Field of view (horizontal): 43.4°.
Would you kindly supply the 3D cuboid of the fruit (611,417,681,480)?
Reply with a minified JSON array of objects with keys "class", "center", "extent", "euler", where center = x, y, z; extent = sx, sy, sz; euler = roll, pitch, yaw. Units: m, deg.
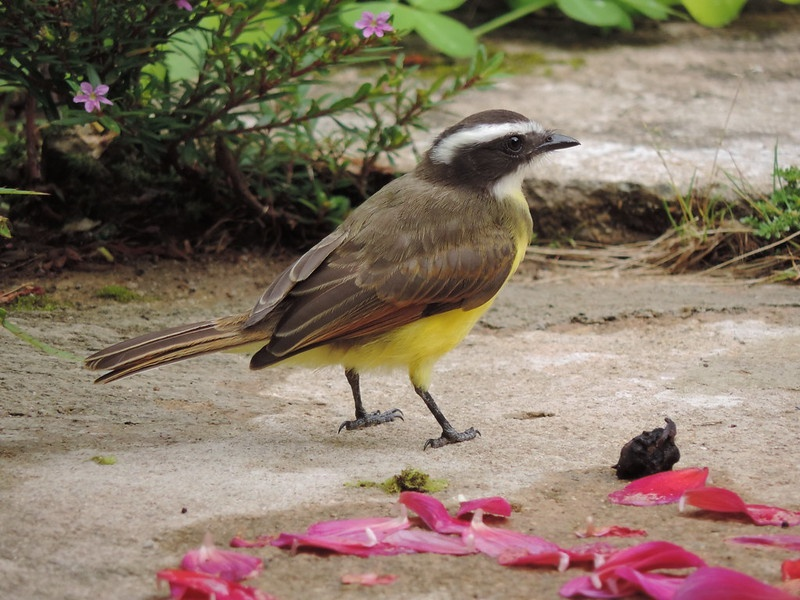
[{"class":"fruit","center":[1.234,0.748,5.121],"extent":[0.417,0.267,0.222],"euler":[-13,-17,36]}]

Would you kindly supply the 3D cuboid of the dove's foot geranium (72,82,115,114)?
[{"class":"dove's foot geranium","center":[-1.933,-1.274,6.288],"extent":[0.204,0.194,0.305],"euler":[-6,18,-12]}]

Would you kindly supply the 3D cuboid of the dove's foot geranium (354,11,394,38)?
[{"class":"dove's foot geranium","center":[-0.174,-1.740,6.312],"extent":[0.237,0.165,0.287],"euler":[-2,17,-2]}]
